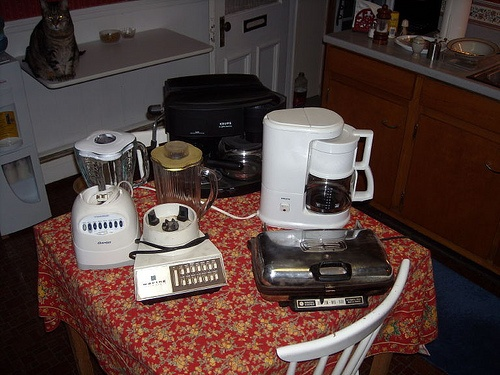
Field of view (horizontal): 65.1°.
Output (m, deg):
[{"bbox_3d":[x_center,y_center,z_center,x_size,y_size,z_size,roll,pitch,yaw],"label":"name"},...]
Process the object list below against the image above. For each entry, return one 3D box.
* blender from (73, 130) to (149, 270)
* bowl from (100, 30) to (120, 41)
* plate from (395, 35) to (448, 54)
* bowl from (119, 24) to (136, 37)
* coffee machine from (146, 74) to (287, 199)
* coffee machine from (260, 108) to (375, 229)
[{"bbox_3d":[-0.462,0.020,1.327,0.219,0.385,0.388,1,25,-3],"label":"blender"},{"bbox_3d":[-0.993,-1.074,2.784,0.151,0.072,0.125,-11,34,-17],"label":"bowl"},{"bbox_3d":[1.082,-0.919,2.476,0.313,0.082,0.270,-13,35,-19],"label":"plate"},{"bbox_3d":[-0.894,-1.126,2.853,0.105,0.061,0.070,-5,32,-8],"label":"bowl"},{"bbox_3d":[-0.144,-0.203,1.694,0.540,0.415,0.480,0,20,-2],"label":"coffee machine"},{"bbox_3d":[0.243,-0.066,1.405,0.409,0.384,0.248,4,29,9],"label":"coffee machine"}]
